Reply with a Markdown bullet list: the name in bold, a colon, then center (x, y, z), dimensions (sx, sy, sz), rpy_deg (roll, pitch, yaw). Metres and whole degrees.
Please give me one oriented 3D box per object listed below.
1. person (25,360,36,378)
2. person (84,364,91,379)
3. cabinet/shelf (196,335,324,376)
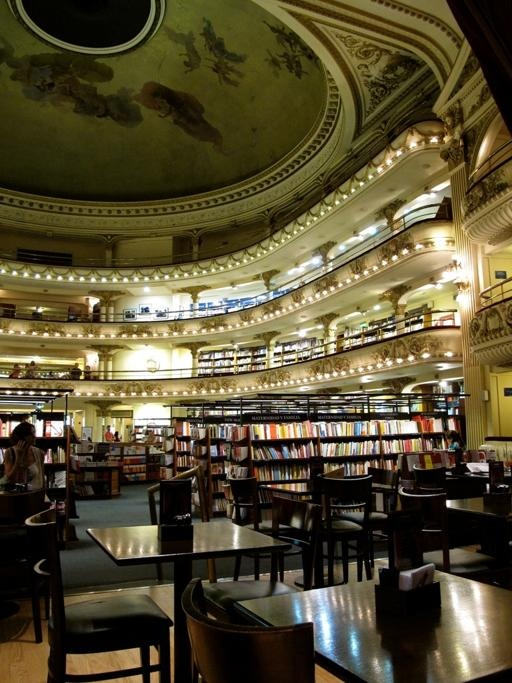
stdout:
- **person**: center (-10.069, 1.273, 22.921), dimensions (0.449, 0.781, 0.437), rpy_deg (11, -29, -28)
- **person**: center (-8.135, 1.497, 24.777), dimensions (0.364, 0.860, 2.516), rpy_deg (2, -8, -18)
- **cabinet/shelf**: center (-0.218, 0.729, 22.381), dimensions (2.794, 1.594, 7.270), rpy_deg (5, -9, -35)
